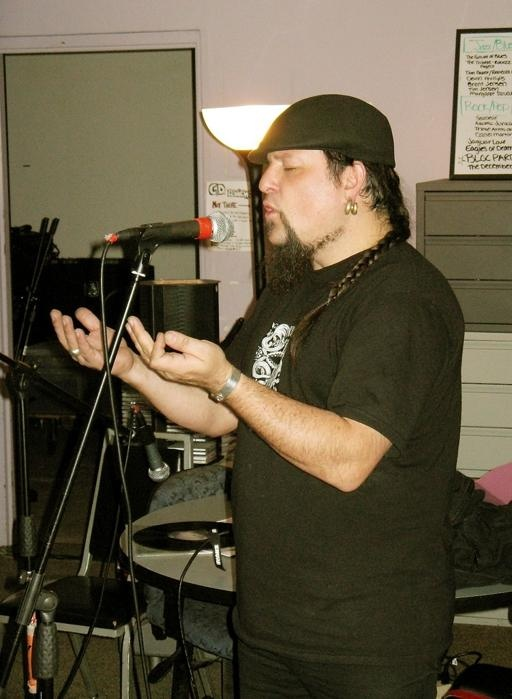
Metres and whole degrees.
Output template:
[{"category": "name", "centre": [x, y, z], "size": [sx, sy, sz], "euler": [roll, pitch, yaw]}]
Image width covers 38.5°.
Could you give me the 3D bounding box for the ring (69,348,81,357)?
[{"category": "ring", "centre": [-0.352, 0.007, 1.430], "size": [0.020, 0.014, 0.019], "euler": [7, 11, -1]}]

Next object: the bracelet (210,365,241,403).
[{"category": "bracelet", "centre": [-0.053, 0.055, 1.167], "size": [0.015, 0.055, 0.050], "euler": [36, 25, -18]}]

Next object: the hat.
[{"category": "hat", "centre": [0.126, -0.385, 1.312], "size": [0.198, 0.083, 0.135], "euler": [7, 20, 4]}]
